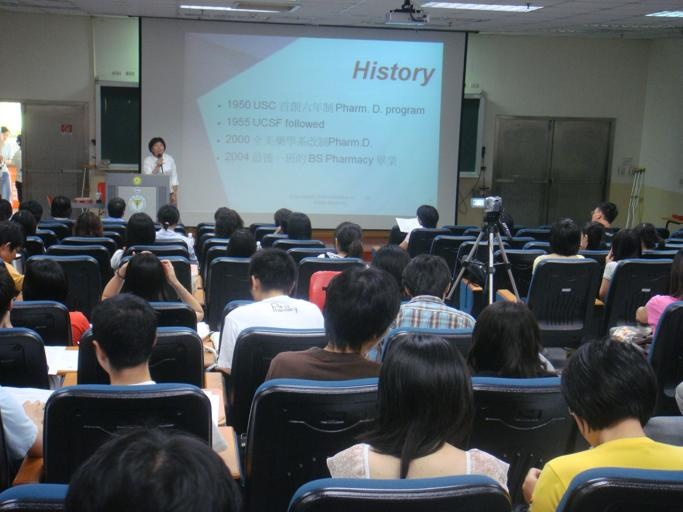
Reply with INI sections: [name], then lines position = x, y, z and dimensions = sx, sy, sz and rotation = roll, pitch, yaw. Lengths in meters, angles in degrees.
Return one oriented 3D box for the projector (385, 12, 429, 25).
[projector]
position = 0.876, -3.181, 7.904
dimensions = 0.526, 0.142, 0.267
rotation = 0, 9, -2
